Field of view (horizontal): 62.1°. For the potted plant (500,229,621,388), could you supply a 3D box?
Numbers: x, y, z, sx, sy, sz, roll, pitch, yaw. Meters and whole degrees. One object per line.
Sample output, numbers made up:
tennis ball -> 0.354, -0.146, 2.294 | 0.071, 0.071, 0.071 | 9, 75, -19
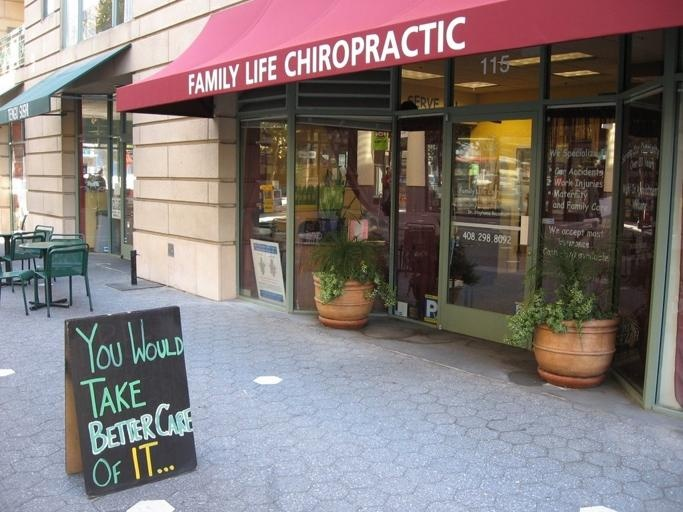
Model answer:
potted plant -> 2.562, 0.565, 6.490 | 1.264, 1.721, 0.977 | 2, 5, -5

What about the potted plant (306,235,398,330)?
potted plant -> 0.081, 0.357, 8.399 | 1.064, 1.379, 1.004 | 1, 3, 21

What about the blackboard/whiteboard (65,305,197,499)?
blackboard/whiteboard -> -1.701, 1.086, 4.677 | 0.918, 1.358, 0.748 | -6, 15, -17
